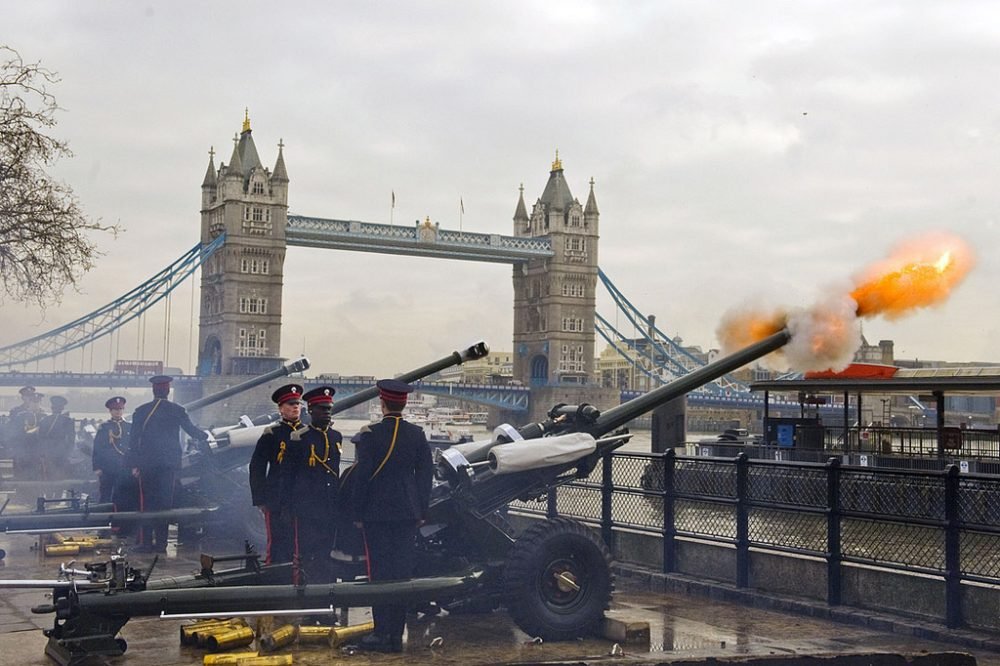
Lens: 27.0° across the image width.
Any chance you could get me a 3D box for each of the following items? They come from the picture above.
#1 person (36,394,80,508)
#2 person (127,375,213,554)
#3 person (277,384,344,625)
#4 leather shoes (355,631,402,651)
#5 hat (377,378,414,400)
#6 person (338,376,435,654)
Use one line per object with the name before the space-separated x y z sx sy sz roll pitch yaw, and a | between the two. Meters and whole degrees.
person | -8.988 2.106 41.614 0.669 1.710 1.290 -1 -2 -4
person | -5.712 2.176 34.991 1.246 2.974 1.157 -1 -2 -2
person | -2.765 2.256 31.330 0.829 2.896 0.538 1 -3 -37
leather shoes | -1.763 4.499 30.246 0.644 0.228 0.247 8 -10 1
hat | -1.548 0.819 30.628 0.667 0.235 0.681 2 9 -17
person | -1.587 2.651 30.656 1.226 3.954 0.779 -1 -2 -3
